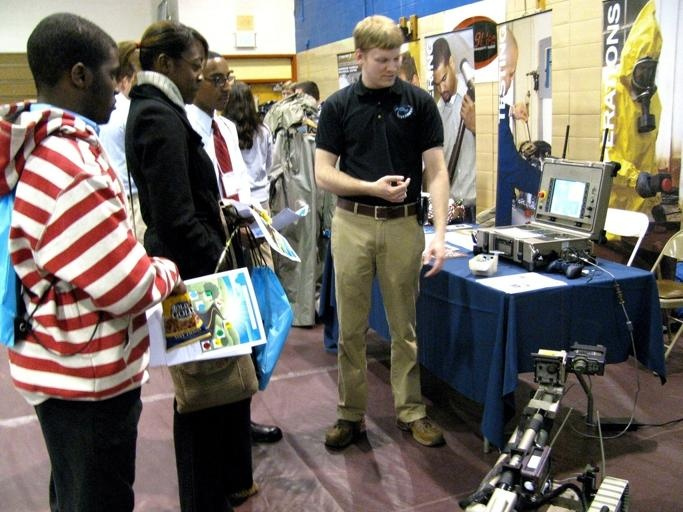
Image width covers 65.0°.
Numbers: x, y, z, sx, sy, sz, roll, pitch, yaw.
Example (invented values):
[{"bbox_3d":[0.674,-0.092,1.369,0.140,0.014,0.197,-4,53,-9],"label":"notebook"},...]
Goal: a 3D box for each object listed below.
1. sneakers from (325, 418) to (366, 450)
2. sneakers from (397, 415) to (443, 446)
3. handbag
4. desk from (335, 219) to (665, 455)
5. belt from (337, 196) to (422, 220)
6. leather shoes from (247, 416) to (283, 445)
[{"bbox_3d":[0.018,0.978,3.014,0.220,0.155,0.115,0,2,-37],"label":"sneakers"},{"bbox_3d":[0.443,0.961,2.971,0.109,0.110,0.235,-3,10,-45],"label":"sneakers"},{"bbox_3d":[-0.588,0.196,2.103,0.211,0.730,0.413,-3,2,24],"label":"handbag"},{"bbox_3d":[0.885,0.367,3.249,0.826,0.621,1.348,2,6,-14],"label":"desk"},{"bbox_3d":[0.193,-0.243,2.789,0.447,0.114,0.128,0,14,11],"label":"belt"},{"bbox_3d":[-0.486,0.999,3.079,0.290,0.128,0.105,-3,6,17],"label":"leather shoes"}]
